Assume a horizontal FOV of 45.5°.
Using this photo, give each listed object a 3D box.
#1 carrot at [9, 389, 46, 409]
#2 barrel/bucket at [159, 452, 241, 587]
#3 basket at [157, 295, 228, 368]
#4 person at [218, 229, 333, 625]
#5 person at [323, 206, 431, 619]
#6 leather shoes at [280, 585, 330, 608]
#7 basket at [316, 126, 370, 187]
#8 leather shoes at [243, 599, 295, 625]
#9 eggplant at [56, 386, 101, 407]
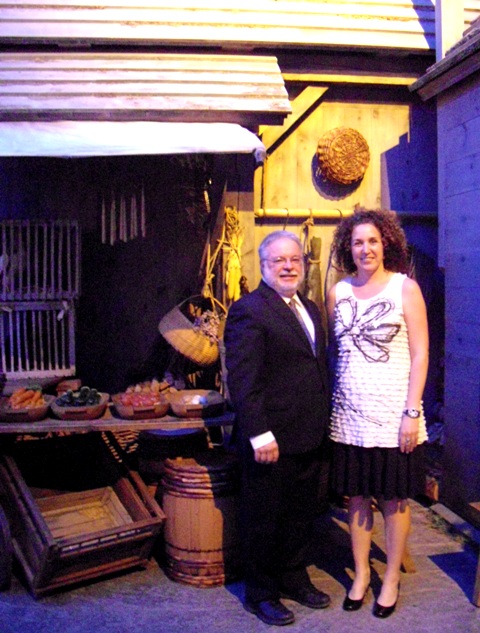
[{"bbox_3d":[-1.217,0.470,3.265,0.108,0.054,0.195,-1,3,-4],"label":"carrot"},{"bbox_3d":[-0.202,1.073,3.161,0.529,0.629,0.536,0,0,0],"label":"barrel/bucket"},{"bbox_3d":[-0.299,0.113,3.792,0.359,0.351,0.281,31,62,34],"label":"basket"},{"bbox_3d":[0.187,0.495,2.678,0.509,1.788,0.398,-1,3,-5],"label":"person"},{"bbox_3d":[0.644,0.431,2.743,0.482,1.902,0.396,1,4,20],"label":"person"},{"bbox_3d":[0.319,1.333,2.779,0.200,0.083,0.083,-3,-8,32],"label":"leather shoes"},{"bbox_3d":[0.801,-1.227,4.411,0.406,0.428,0.124,-14,12,-22],"label":"basket"},{"bbox_3d":[0.137,1.357,2.651,0.095,0.071,0.228,-3,4,-42],"label":"leather shoes"},{"bbox_3d":[-0.899,0.455,3.212,0.145,0.051,0.149,4,10,-3],"label":"eggplant"}]
